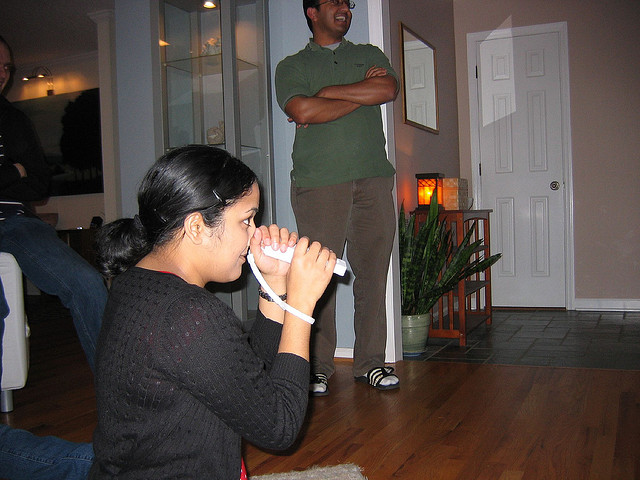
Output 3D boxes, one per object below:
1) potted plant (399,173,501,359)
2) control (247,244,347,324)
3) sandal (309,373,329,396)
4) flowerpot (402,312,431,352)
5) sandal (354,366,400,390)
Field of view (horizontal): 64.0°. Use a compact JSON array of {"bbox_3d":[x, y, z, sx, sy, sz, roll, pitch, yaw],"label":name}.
[{"bbox_3d":[1.274,0.244,4.363,0.464,1.066,1.397,2,1,18],"label":"potted plant"},{"bbox_3d":[-0.071,0.106,1.301,0.240,0.185,0.067,22,-2,9],"label":"control"},{"bbox_3d":[-0.009,0.776,2.711,0.070,0.083,0.199,-1,-10,5],"label":"sandal"},{"bbox_3d":[0.647,0.630,3.483,0.229,0.243,0.225,-1,-10,-1],"label":"flowerpot"},{"bbox_3d":[0.336,0.766,2.856,0.091,0.085,0.212,1,-4,-45],"label":"sandal"}]
